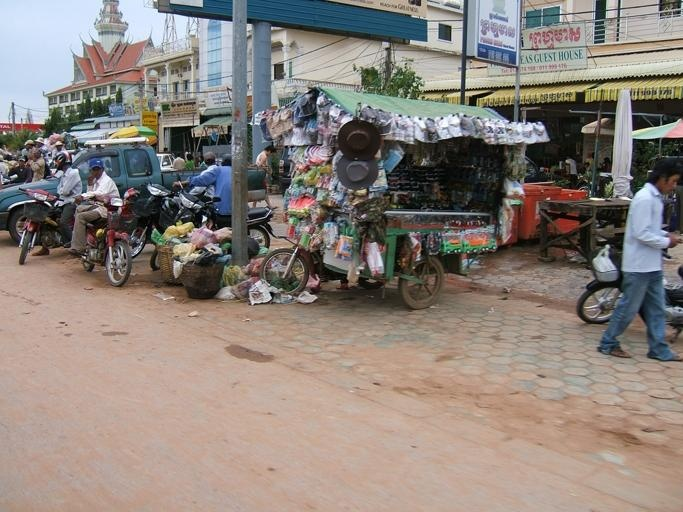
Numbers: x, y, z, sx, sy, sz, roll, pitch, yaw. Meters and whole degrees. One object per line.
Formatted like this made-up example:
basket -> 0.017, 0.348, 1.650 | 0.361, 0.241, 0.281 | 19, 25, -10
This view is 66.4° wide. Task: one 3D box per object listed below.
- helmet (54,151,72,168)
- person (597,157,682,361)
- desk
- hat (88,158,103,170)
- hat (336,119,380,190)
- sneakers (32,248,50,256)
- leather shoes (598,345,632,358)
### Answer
helmet -> -5.607, -1.917, 10.445 | 0.280, 0.350, 0.582 | -4, 12, -26
person -> 3.313, 0.046, 5.612 | 0.785, 2.164, 0.539 | 2, 14, -1
desk -> 5.338, -0.599, 11.337 | 2.131, 1.045, 1.208 | -7, 9, -42
hat -> -4.452, -1.657, 9.383 | 0.221, 0.178, 0.318 | -4, 12, -26
hat -> 0.196, -1.267, 6.539 | 0.718, 0.790, 0.186 | 4, 18, 5
sneakers -> -6.559, -0.088, 11.313 | 0.320, 0.197, 0.104 | 11, 11, -24
leather shoes -> 3.037, 1.062, 5.813 | 0.339, 0.103, 0.115 | 2, 9, 29
